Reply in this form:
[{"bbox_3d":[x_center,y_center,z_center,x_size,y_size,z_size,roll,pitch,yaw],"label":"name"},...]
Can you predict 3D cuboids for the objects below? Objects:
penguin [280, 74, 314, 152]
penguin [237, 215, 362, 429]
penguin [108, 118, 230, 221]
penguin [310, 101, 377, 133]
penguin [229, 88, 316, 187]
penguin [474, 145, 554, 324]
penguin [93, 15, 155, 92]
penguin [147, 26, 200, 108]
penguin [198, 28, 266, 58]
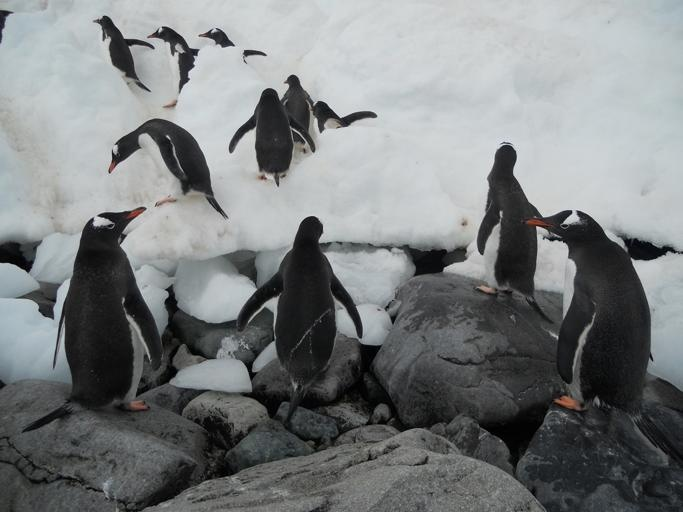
[{"bbox_3d":[-0.450,-1.429,6.850,0.366,0.835,0.400,5,18,9],"label":"penguin"},{"bbox_3d":[-0.254,0.388,4.600,0.890,0.880,0.808,-23,38,-29],"label":"penguin"},{"bbox_3d":[-1.482,-0.724,6.052,0.859,0.994,0.811,5,20,14],"label":"penguin"},{"bbox_3d":[0.025,-1.461,6.894,0.651,0.279,0.337,-9,33,-11],"label":"penguin"},{"bbox_3d":[-0.576,-1.012,6.123,0.630,0.974,0.644,17,24,41],"label":"penguin"},{"bbox_3d":[1.293,-0.196,5.050,0.571,1.221,0.560,7,16,26],"label":"penguin"},{"bbox_3d":[-2.372,-2.282,7.401,0.527,1.054,0.547,-2,25,-4],"label":"penguin"},{"bbox_3d":[-1.844,-2.092,7.409,0.570,0.995,0.431,7,-15,-34],"label":"penguin"},{"bbox_3d":[-1.376,-2.600,8.129,0.839,0.380,0.588,2,33,5],"label":"penguin"}]
